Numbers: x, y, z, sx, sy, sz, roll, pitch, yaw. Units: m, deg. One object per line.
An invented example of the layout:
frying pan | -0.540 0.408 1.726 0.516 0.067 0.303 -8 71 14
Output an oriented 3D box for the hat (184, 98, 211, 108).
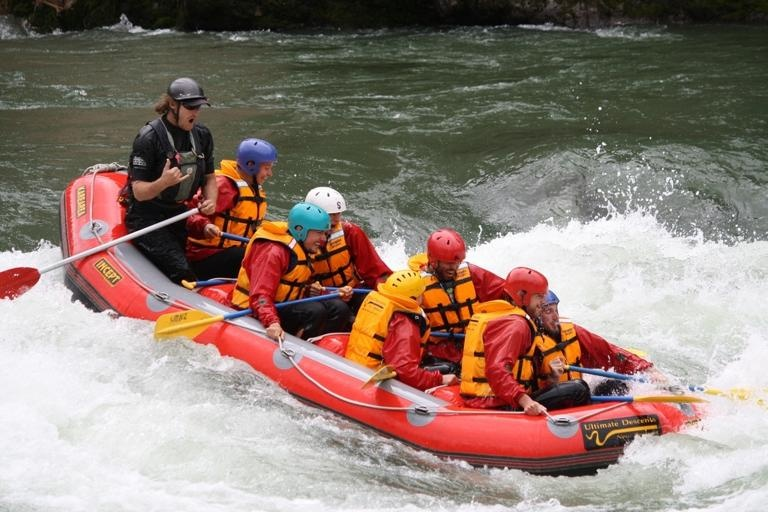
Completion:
hat | -2.008 -1.620 8.253 0.310 0.125 0.174 -9 17 -33

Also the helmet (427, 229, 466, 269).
helmet | 0.660 -0.070 7.864 0.317 0.302 0.381 -17 44 -35

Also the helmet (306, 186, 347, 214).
helmet | -0.640 -0.641 8.645 0.386 0.291 0.291 25 15 21

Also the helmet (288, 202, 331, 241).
helmet | -0.741 -0.370 8.187 0.458 0.350 0.320 22 18 2

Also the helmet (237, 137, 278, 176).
helmet | -1.463 -1.172 8.978 0.504 0.357 0.337 5 36 -2

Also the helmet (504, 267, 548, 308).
helmet | 1.346 0.289 7.357 0.434 0.316 0.325 3 13 12

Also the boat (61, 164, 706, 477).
boat | -0.869 0.950 8.009 5.975 0.736 2.788 16 23 25

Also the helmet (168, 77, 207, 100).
helmet | -2.114 -1.763 8.262 0.354 0.164 0.266 0 17 21
